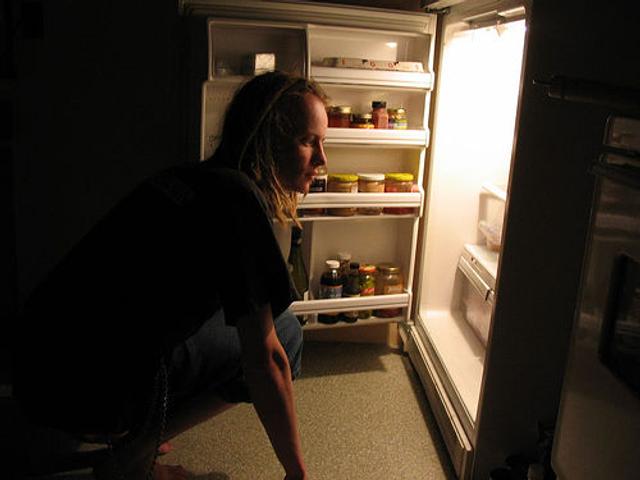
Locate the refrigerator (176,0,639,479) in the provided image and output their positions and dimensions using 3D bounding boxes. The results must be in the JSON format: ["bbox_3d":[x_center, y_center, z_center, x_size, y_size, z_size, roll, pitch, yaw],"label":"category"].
[{"bbox_3d":[0.298,-0.161,2.000,0.951,1.897,0.976,1,8,0],"label":"refrigerator"}]

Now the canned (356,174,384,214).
[{"bbox_3d":[0.224,-0.214,2.331,0.149,0.180,0.154,-1,13,-11],"label":"canned"}]

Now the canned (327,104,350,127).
[{"bbox_3d":[0.083,-0.532,2.166,0.087,0.080,0.087,-5,13,-29],"label":"canned"}]

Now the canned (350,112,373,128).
[{"bbox_3d":[0.185,-0.510,2.173,0.070,0.057,0.072,0,12,-8],"label":"canned"}]

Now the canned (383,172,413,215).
[{"bbox_3d":[0.359,-0.215,2.358,0.162,0.187,0.160,-6,13,-38],"label":"canned"}]
